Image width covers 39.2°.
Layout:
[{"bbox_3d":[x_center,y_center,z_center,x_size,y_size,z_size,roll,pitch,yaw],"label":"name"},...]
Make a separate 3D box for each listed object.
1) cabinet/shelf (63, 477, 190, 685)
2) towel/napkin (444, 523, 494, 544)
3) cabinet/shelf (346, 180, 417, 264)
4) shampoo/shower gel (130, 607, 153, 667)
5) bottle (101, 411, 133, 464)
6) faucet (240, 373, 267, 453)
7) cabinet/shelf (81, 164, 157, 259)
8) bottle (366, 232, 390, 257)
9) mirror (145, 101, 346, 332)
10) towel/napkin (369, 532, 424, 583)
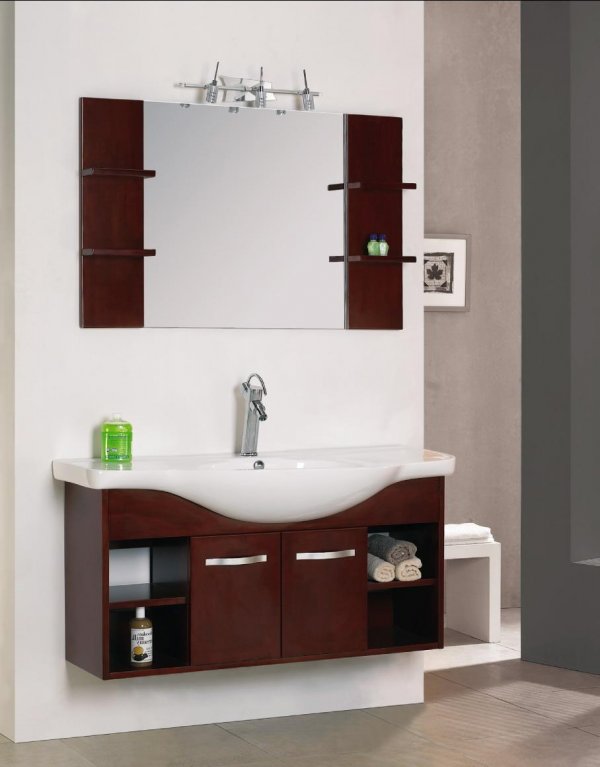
[{"bbox_3d":[-0.435,0.480,2.102,0.265,0.452,0.370,-1,-3,-23],"label":"cabinet/shelf"},{"bbox_3d":[0.649,0.612,3.421,0.212,0.063,0.271,-2,-4,-8],"label":"towel/napkin"},{"bbox_3d":[0.237,-0.483,2.551,0.205,0.305,0.084,-2,3,-32],"label":"cabinet/shelf"},{"bbox_3d":[-0.387,0.618,2.064,0.052,0.135,0.093,-1,-3,-15],"label":"shampoo/shower gel"},{"bbox_3d":[-0.480,0.153,2.230,0.092,0.126,0.098,1,-2,0],"label":"bottle"},{"bbox_3d":[-0.129,0.090,2.361,0.080,0.235,0.214,-1,-3,-3],"label":"faucet"},{"bbox_3d":[-0.489,-0.451,2.244,0.189,0.288,0.083,-3,7,-32],"label":"cabinet/shelf"},{"bbox_3d":[0.231,-0.409,2.538,0.065,0.125,0.035,1,2,-6],"label":"bottle"},{"bbox_3d":[-0.178,-0.472,2.388,0.529,0.688,0.022,0,2,-24],"label":"mirror"},{"bbox_3d":[0.253,0.474,2.313,0.095,0.063,0.127,2,-3,-20],"label":"towel/napkin"}]
